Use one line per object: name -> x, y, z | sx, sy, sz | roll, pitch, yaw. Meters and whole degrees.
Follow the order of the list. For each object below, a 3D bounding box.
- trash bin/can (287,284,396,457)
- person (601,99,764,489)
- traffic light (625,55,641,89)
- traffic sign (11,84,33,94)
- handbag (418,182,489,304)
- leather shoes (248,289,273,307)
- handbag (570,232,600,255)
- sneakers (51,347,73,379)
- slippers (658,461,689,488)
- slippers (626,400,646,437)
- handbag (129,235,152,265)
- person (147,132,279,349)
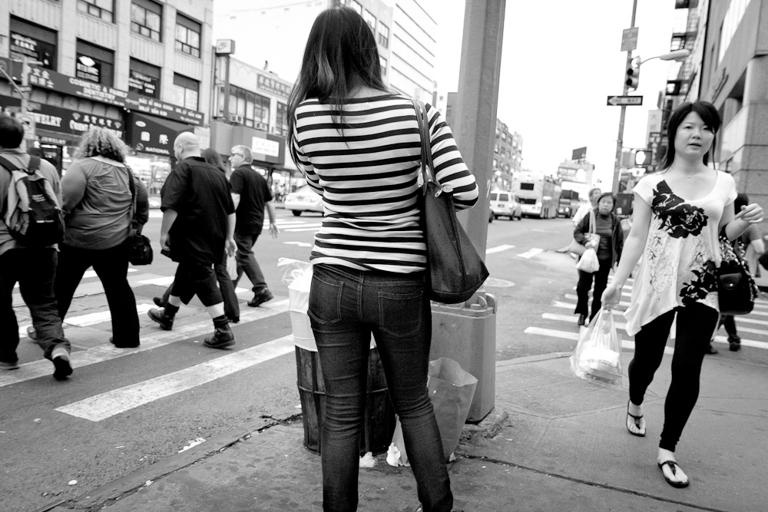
trash bin/can -> -0.314, 0.994, 4.936 | 1.048, 1.592, 1.142 | -4, -3, -4
person -> 2.341, 0.234, 4.677 | 0.781, 2.907, 0.789 | -6, 13, -40
traffic light -> 8.488, -6.249, 19.744 | 0.386, 1.089, 0.491 | 5, 10, 18
traffic sign -> -14.572, -6.793, 23.362 | 0.693, 0.336, 0.921 | 2, 1, -24
handbag -> 0.439, -0.087, 3.467 | 0.381, 0.706, 0.197 | -2, 10, -21
leather shoes -> -1.993, 0.692, 9.252 | 0.506, 0.244, 0.187 | -23, -10, 24
handbag -> 3.367, -0.233, 9.618 | 0.356, 0.375, 0.134 | 17, -4, 24
sneakers -> -3.188, 1.060, 5.773 | 0.149, 0.390, 0.161 | -12, 28, -26
slippers -> 2.230, 1.674, 4.493 | 0.109, 0.069, 0.259 | -9, 16, 2
slippers -> 2.251, 1.473, 5.168 | 0.121, 0.349, 0.133 | 1, -6, 7
handbag -> -2.795, -0.073, 6.651 | 0.184, 0.294, 0.277 | -3, 21, 4
person -> -2.338, -0.229, 7.184 | 0.987, 2.579, 1.020 | -1, 10, -17
